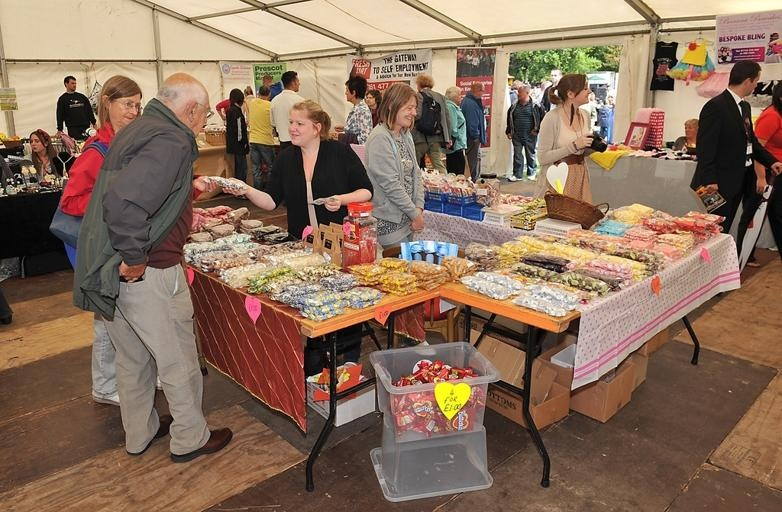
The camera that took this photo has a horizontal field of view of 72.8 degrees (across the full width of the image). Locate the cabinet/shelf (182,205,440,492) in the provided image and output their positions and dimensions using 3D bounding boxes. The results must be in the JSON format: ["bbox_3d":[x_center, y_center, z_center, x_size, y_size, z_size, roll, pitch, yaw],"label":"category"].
[{"bbox_3d":[-0.611,0.645,4.287,1.532,1.005,2.194,-11,15,-34],"label":"cabinet/shelf"}]

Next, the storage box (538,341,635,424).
[{"bbox_3d":[1.551,1.025,4.200,0.664,0.385,0.633,-22,28,-38],"label":"storage box"}]

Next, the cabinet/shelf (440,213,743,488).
[{"bbox_3d":[1.680,0.404,4.120,2.054,0.779,1.975,-29,38,-33],"label":"cabinet/shelf"}]

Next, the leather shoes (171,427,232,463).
[{"bbox_3d":[-1.361,1.366,3.853,0.333,0.127,0.189,-14,23,-37],"label":"leather shoes"}]

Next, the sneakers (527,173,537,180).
[{"bbox_3d":[3.104,-1.741,11.677,0.092,0.106,0.251,-4,6,41],"label":"sneakers"}]

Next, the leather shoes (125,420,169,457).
[{"bbox_3d":[-1.799,1.329,3.975,0.125,0.147,0.358,11,30,11],"label":"leather shoes"}]

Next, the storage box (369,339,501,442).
[{"bbox_3d":[0.280,0.910,3.443,0.857,0.439,0.638,-4,7,-17],"label":"storage box"}]

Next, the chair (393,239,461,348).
[{"bbox_3d":[0.158,0.394,4.492,0.597,0.748,0.618,-12,38,5],"label":"chair"}]

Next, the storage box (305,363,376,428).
[{"bbox_3d":[-0.379,1.107,4.192,0.491,0.290,0.494,11,15,43],"label":"storage box"}]

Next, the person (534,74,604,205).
[{"bbox_3d":[1.803,-1.203,5.409,0.560,1.250,0.627,4,22,16],"label":"person"}]

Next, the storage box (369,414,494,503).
[{"bbox_3d":[0.202,1.397,4.114,0.862,0.572,1.192,-3,-5,-13],"label":"storage box"}]

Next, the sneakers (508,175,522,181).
[{"bbox_3d":[2.652,-1.662,11.370,0.145,0.087,0.228,3,3,43],"label":"sneakers"}]

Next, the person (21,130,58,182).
[{"bbox_3d":[-4.552,-1.325,6.962,0.310,0.701,0.336,30,36,28],"label":"person"}]
